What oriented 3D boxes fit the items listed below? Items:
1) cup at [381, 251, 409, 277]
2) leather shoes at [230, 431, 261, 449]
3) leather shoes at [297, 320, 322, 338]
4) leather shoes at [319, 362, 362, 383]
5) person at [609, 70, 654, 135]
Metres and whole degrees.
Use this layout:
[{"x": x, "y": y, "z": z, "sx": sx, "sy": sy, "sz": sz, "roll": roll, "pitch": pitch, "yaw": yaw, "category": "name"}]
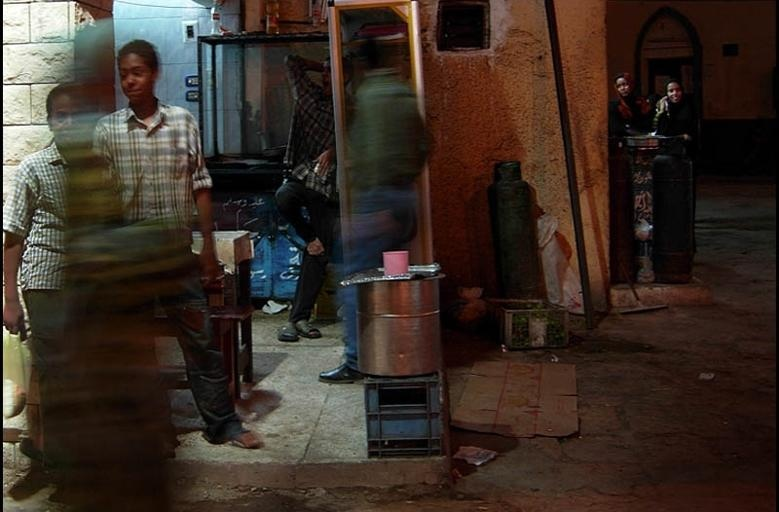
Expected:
[{"x": 0.045, "y": 0.062, "z": 6.430, "sx": 0.197, "sy": 0.186, "sz": 0.250, "roll": 1, "pitch": 6, "yaw": 6, "category": "cup"}, {"x": -1.135, "y": 1.479, "z": 6.587, "sx": 0.260, "sy": 0.075, "sz": 0.116, "roll": 0, "pitch": 12, "yaw": 14, "category": "leather shoes"}, {"x": -0.916, "y": 0.836, "z": 9.166, "sx": 0.169, "sy": 0.100, "sz": 0.307, "roll": 2, "pitch": -1, "yaw": -23, "category": "leather shoes"}, {"x": -0.527, "y": 1.128, "z": 7.841, "sx": 0.470, "sy": 0.140, "sz": 0.159, "roll": 2, "pitch": -3, "yaw": 7, "category": "leather shoes"}, {"x": 3.361, "y": -2.138, "z": 11.502, "sx": 0.598, "sy": 0.913, "sz": 0.703, "roll": 1, "pitch": 6, "yaw": 13, "category": "person"}]
